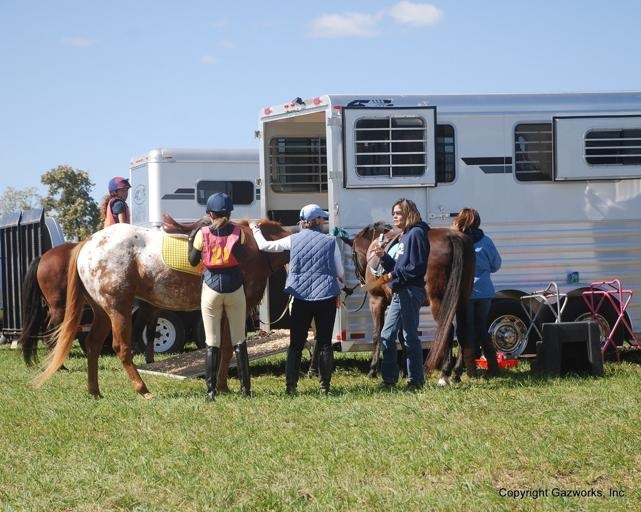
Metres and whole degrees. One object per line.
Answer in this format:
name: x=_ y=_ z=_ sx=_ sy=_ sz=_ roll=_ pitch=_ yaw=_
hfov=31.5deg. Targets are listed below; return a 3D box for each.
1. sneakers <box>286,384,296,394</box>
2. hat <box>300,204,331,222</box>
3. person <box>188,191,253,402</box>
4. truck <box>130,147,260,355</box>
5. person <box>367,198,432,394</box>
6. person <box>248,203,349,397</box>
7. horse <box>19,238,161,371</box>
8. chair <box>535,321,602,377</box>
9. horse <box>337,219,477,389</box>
sneakers: x=-0.324 y=1.535 z=13.098 sx=0.095 sy=0.113 sz=0.187 roll=-1 pitch=4 yaw=28
hat: x=-0.057 y=-0.470 z=13.250 sx=0.277 sy=0.158 sz=0.214 roll=-9 pitch=12 yaw=-28
person: x=-1.115 y=0.455 z=12.804 sx=0.678 sy=2.316 sz=0.357 roll=0 pitch=1 yaw=-7
truck: x=-1.489 y=-0.257 z=19.121 sx=2.359 sy=2.719 sz=1.544 roll=0 pitch=-9 yaw=-9
person: x=0.967 y=0.430 z=13.077 sx=0.573 sy=2.152 sz=0.514 roll=0 pitch=1 yaw=16
person: x=-0.215 y=0.493 z=13.163 sx=0.961 sy=2.171 sz=0.658 roll=1 pitch=2 yaw=42
horse: x=-2.679 y=0.506 z=15.212 sx=2.578 sy=2.070 sz=0.751 roll=-1 pitch=4 yaw=3
chair: x=3.004 y=1.116 z=13.829 sx=0.654 sy=0.617 sz=0.719 roll=3 pitch=-7 yaw=3
horse: x=1.023 y=0.550 z=14.151 sx=0.614 sy=2.000 sz=2.157 roll=2 pitch=-5 yaw=-35
